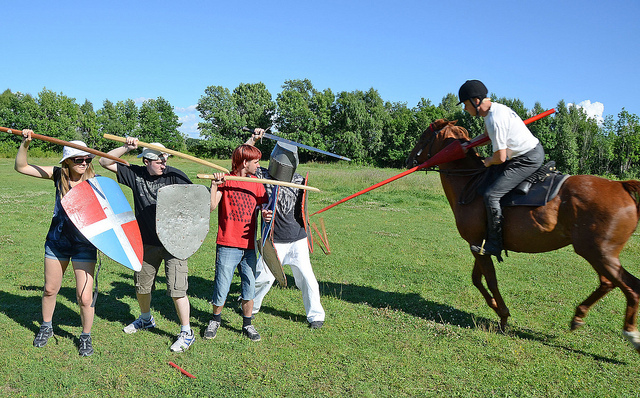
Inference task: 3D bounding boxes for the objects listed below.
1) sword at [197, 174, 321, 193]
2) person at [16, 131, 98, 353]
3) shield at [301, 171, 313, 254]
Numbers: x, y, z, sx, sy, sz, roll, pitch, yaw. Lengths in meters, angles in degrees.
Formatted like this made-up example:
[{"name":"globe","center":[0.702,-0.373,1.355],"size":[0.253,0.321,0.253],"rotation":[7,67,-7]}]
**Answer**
[{"name":"sword","center":[-1.089,-0.299,7.578],"size":[1.994,0.154,0.471],"rotation":[5,8,-22]},{"name":"person","center":[-4.394,0.777,7.406],"size":[1.525,3.717,0.636],"rotation":[11,8,18]},{"name":"shield","center":[-0.288,0.231,8.453],"size":[0.234,1.522,0.101],"rotation":[5,-4,-33]}]
